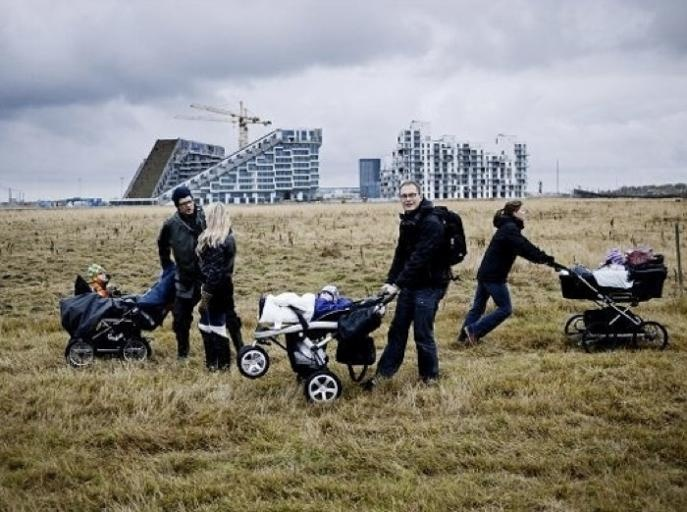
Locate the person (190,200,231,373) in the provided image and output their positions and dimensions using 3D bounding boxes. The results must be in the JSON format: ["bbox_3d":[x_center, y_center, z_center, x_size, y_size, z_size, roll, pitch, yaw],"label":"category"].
[{"bbox_3d":[-2.149,0.539,13.908,0.626,2.818,0.514,0,4,-17],"label":"person"}]

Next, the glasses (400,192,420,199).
[{"bbox_3d":[1.060,-0.963,13.383,0.292,0.094,0.083,2,4,3],"label":"glasses"}]

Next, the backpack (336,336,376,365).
[{"bbox_3d":[0.200,1.516,13.289,0.535,0.431,0.433,1,3,9],"label":"backpack"}]

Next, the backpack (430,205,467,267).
[{"bbox_3d":[1.734,-0.330,13.597,0.516,0.945,0.458,2,4,6],"label":"backpack"}]

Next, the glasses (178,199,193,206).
[{"bbox_3d":[-2.774,-0.910,14.566,0.167,0.141,0.140,-19,-3,41],"label":"glasses"}]

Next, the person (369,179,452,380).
[{"bbox_3d":[1.102,0.491,13.702,1.114,3.311,1.088,5,8,29],"label":"person"}]

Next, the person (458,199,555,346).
[{"bbox_3d":[2.797,0.320,15.881,1.477,2.938,0.970,0,0,-7],"label":"person"}]
